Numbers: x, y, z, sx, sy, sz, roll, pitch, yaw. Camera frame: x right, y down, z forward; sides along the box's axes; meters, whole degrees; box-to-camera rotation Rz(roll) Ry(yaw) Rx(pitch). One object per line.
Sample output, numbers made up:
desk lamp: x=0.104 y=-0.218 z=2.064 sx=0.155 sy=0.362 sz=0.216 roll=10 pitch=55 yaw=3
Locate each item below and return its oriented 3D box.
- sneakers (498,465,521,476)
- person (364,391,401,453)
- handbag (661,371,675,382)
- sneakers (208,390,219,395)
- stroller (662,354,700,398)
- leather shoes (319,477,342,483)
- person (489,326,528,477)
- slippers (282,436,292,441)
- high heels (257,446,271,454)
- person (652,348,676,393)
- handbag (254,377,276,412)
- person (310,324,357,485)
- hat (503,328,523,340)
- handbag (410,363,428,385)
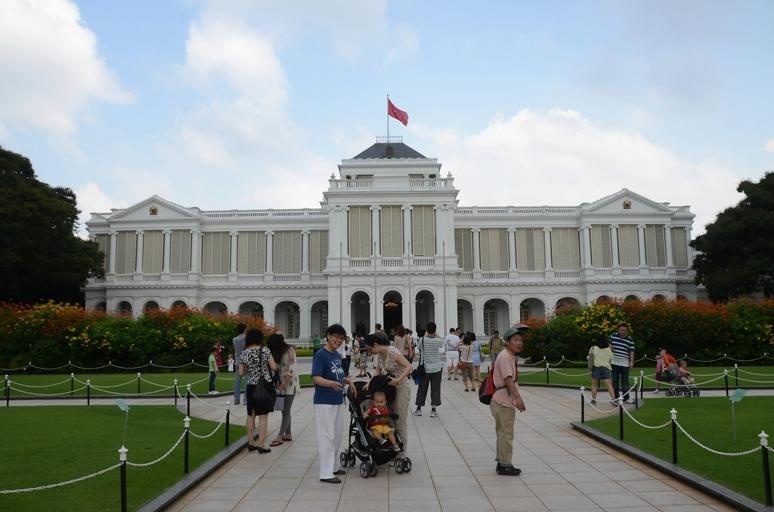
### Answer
sneakers: x=3.112 y=5.455 z=15.340 sx=0.605 sy=0.260 sz=0.232 roll=0 pitch=-1 yaw=3
person: x=-0.126 y=4.104 z=15.407 sx=0.745 sy=1.124 sz=1.580 roll=5 pitch=0 yaw=-14
handbag: x=11.884 y=5.073 z=25.425 sx=0.579 sy=0.180 sz=0.564 roll=1 pitch=0 yaw=-3
sneakers: x=-6.972 y=5.444 z=24.147 sx=0.442 sy=0.179 sz=0.170 roll=-6 pitch=-10 yaw=30
stroller: x=11.978 y=4.922 z=24.513 sx=1.217 sy=1.350 sz=0.864 roll=-1 pitch=3 yaw=20
leather shoes: x=-1.388 y=5.611 z=15.067 sx=0.483 sy=0.188 sz=0.182 roll=-1 pitch=-4 yaw=3
person: x=3.097 y=3.696 z=15.482 sx=0.820 sy=3.735 sz=0.593 roll=1 pitch=3 yaw=13
slippers: x=-2.948 y=5.415 z=17.921 sx=0.274 sy=0.102 sz=0.094 roll=2 pitch=-5 yaw=14
high heels: x=-3.451 y=5.426 z=16.865 sx=0.136 sy=0.163 sz=0.399 roll=-2 pitch=-6 yaw=35
person: x=11.978 y=4.833 z=25.426 sx=0.748 sy=1.870 sz=1.166 roll=17 pitch=-17 yaw=-34
handbag: x=-3.413 y=3.834 z=16.707 sx=0.545 sy=0.973 sz=0.981 roll=-2 pitch=-2 yaw=-19
person: x=-1.420 y=3.663 z=15.563 sx=0.956 sy=3.940 sz=1.289 roll=0 pitch=3 yaw=-4
hat: x=3.209 y=1.975 z=15.434 sx=0.310 sy=0.163 sz=0.425 roll=-1 pitch=-12 yaw=-17
handbag: x=1.062 y=3.971 z=20.359 sx=0.480 sy=0.699 sz=0.891 roll=12 pitch=-33 yaw=-18
